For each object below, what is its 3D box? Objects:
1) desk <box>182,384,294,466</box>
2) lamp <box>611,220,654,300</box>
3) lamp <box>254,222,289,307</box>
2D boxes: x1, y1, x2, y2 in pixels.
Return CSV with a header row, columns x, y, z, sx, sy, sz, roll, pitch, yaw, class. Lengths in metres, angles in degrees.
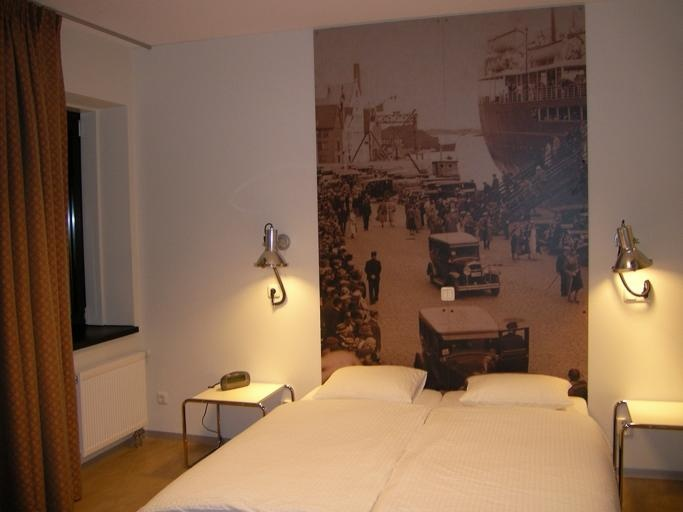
x,y,z,sx,sy,sz,roll,pitch,yaw,class
-0.837,1.176,4.419,0.629,0.624,0.765,0,1,14,desk
2.012,0.036,3.791,0.239,0.519,0.246,-14,2,-44,lamp
-0.543,0.095,4.394,0.282,0.722,0.397,-3,14,-7,lamp
